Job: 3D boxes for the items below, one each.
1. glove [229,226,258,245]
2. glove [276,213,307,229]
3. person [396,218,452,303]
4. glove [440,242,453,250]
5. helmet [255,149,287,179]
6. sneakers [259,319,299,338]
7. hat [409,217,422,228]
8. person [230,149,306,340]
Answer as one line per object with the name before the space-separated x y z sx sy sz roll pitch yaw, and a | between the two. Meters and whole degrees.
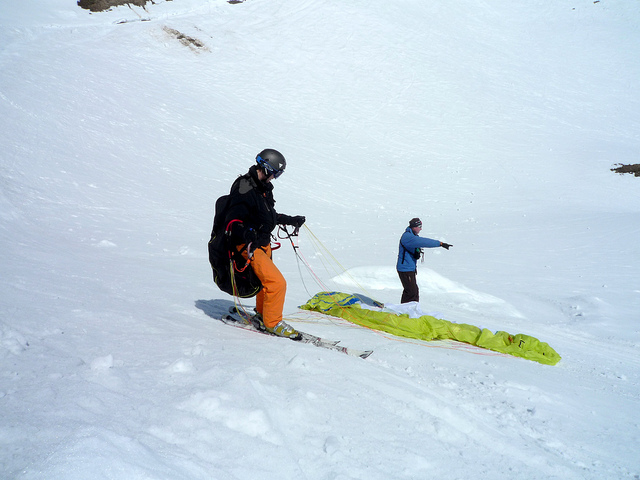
glove | -1.250 -0.082 10.810 0.407 0.345 0.273 7 12 -8
glove | -0.503 -0.331 11.341 0.424 0.133 0.224 14 -26 5
person | 2.367 0.548 14.912 1.002 1.966 1.527 -3 18 -12
glove | 2.399 0.115 12.541 0.237 0.208 0.563 -1 -1 19
helmet | -0.773 -1.291 11.072 0.562 0.423 0.406 29 16 -13
sneakers | -0.654 1.525 11.218 0.727 0.238 0.239 12 4 1
hat | 1.947 -0.322 13.229 0.268 0.178 0.224 -21 23 -16
person | -0.963 0.017 11.072 1.401 3.062 0.635 12 10 -8
